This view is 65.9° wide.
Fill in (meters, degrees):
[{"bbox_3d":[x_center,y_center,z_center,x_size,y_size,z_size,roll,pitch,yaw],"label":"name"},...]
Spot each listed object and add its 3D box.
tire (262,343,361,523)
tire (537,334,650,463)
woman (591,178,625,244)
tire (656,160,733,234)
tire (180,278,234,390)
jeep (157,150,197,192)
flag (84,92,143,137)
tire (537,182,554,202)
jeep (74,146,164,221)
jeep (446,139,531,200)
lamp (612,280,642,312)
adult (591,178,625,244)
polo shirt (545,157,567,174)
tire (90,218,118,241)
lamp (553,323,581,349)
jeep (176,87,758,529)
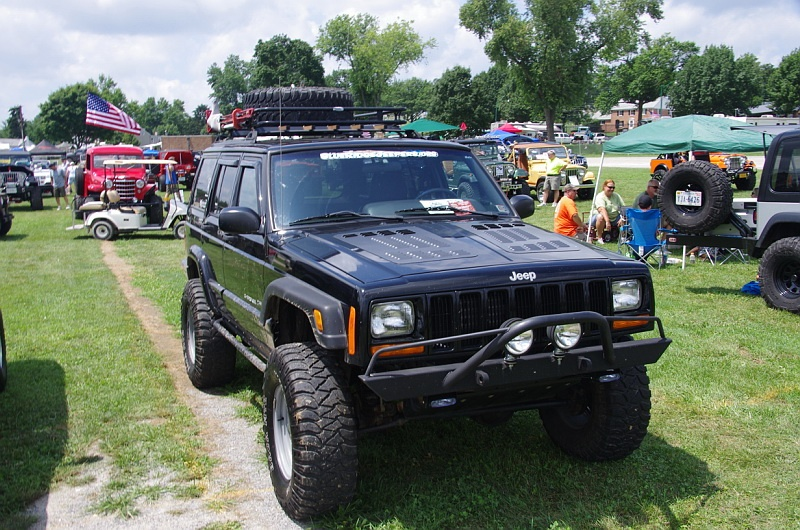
[{"bbox_3d":[-0.735,1.418,5.143,0.537,1.430,0.870,-8,13,-33],"label":"tire"},{"bbox_3d":[1.717,1.158,5.406,0.438,1.140,1.123,0,-10,-36],"label":"tire"},{"bbox_3d":[4.915,-1.275,14.427,0.941,1.456,0.999,-5,10,-9],"label":"woman"},{"bbox_3d":[5.403,-1.243,11.338,0.474,1.328,1.314,-13,12,-32],"label":"tire"},{"bbox_3d":[-2.413,0.887,7.755,0.455,1.387,1.383,-3,15,-27],"label":"tire"},{"bbox_3d":[-13.353,-6.076,38.904,2.066,2.133,3.969,0,14,-5],"label":"jeep"},{"bbox_3d":[-12.209,-6.389,26.025,1.789,1.567,3.717,-6,13,-26],"label":"flag"},{"bbox_3d":[5.350,-2.648,22.528,0.311,0.830,0.818,0,10,-14],"label":"tire"},{"bbox_3d":[-8.762,-2.743,19.366,2.160,2.300,3.689,-2,5,-30],"label":"jeep"},{"bbox_3d":[3.490,-3.652,23.112,3.611,2.122,2.065,0,-2,-42],"label":"jeep"},{"bbox_3d":[1.912,0.258,5.230,0.258,0.253,0.144,0,0,-14],"label":"lamp"},{"bbox_3d":[4.915,-1.275,14.428,0.950,1.466,1.006,-5,12,-11],"label":"adult"},{"bbox_3d":[5.617,-3.576,22.270,0.846,0.693,0.418,5,-15,40],"label":"polo shirt"},{"bbox_3d":[-8.498,-1.050,17.760,0.577,0.594,0.211,3,2,-6],"label":"tire"},{"bbox_3d":[1.326,0.540,4.928,0.189,0.222,0.217,1,10,-27],"label":"lamp"},{"bbox_3d":[-0.362,-0.211,7.169,3.020,3.480,5.853,-2,6,-24],"label":"jeep"}]
